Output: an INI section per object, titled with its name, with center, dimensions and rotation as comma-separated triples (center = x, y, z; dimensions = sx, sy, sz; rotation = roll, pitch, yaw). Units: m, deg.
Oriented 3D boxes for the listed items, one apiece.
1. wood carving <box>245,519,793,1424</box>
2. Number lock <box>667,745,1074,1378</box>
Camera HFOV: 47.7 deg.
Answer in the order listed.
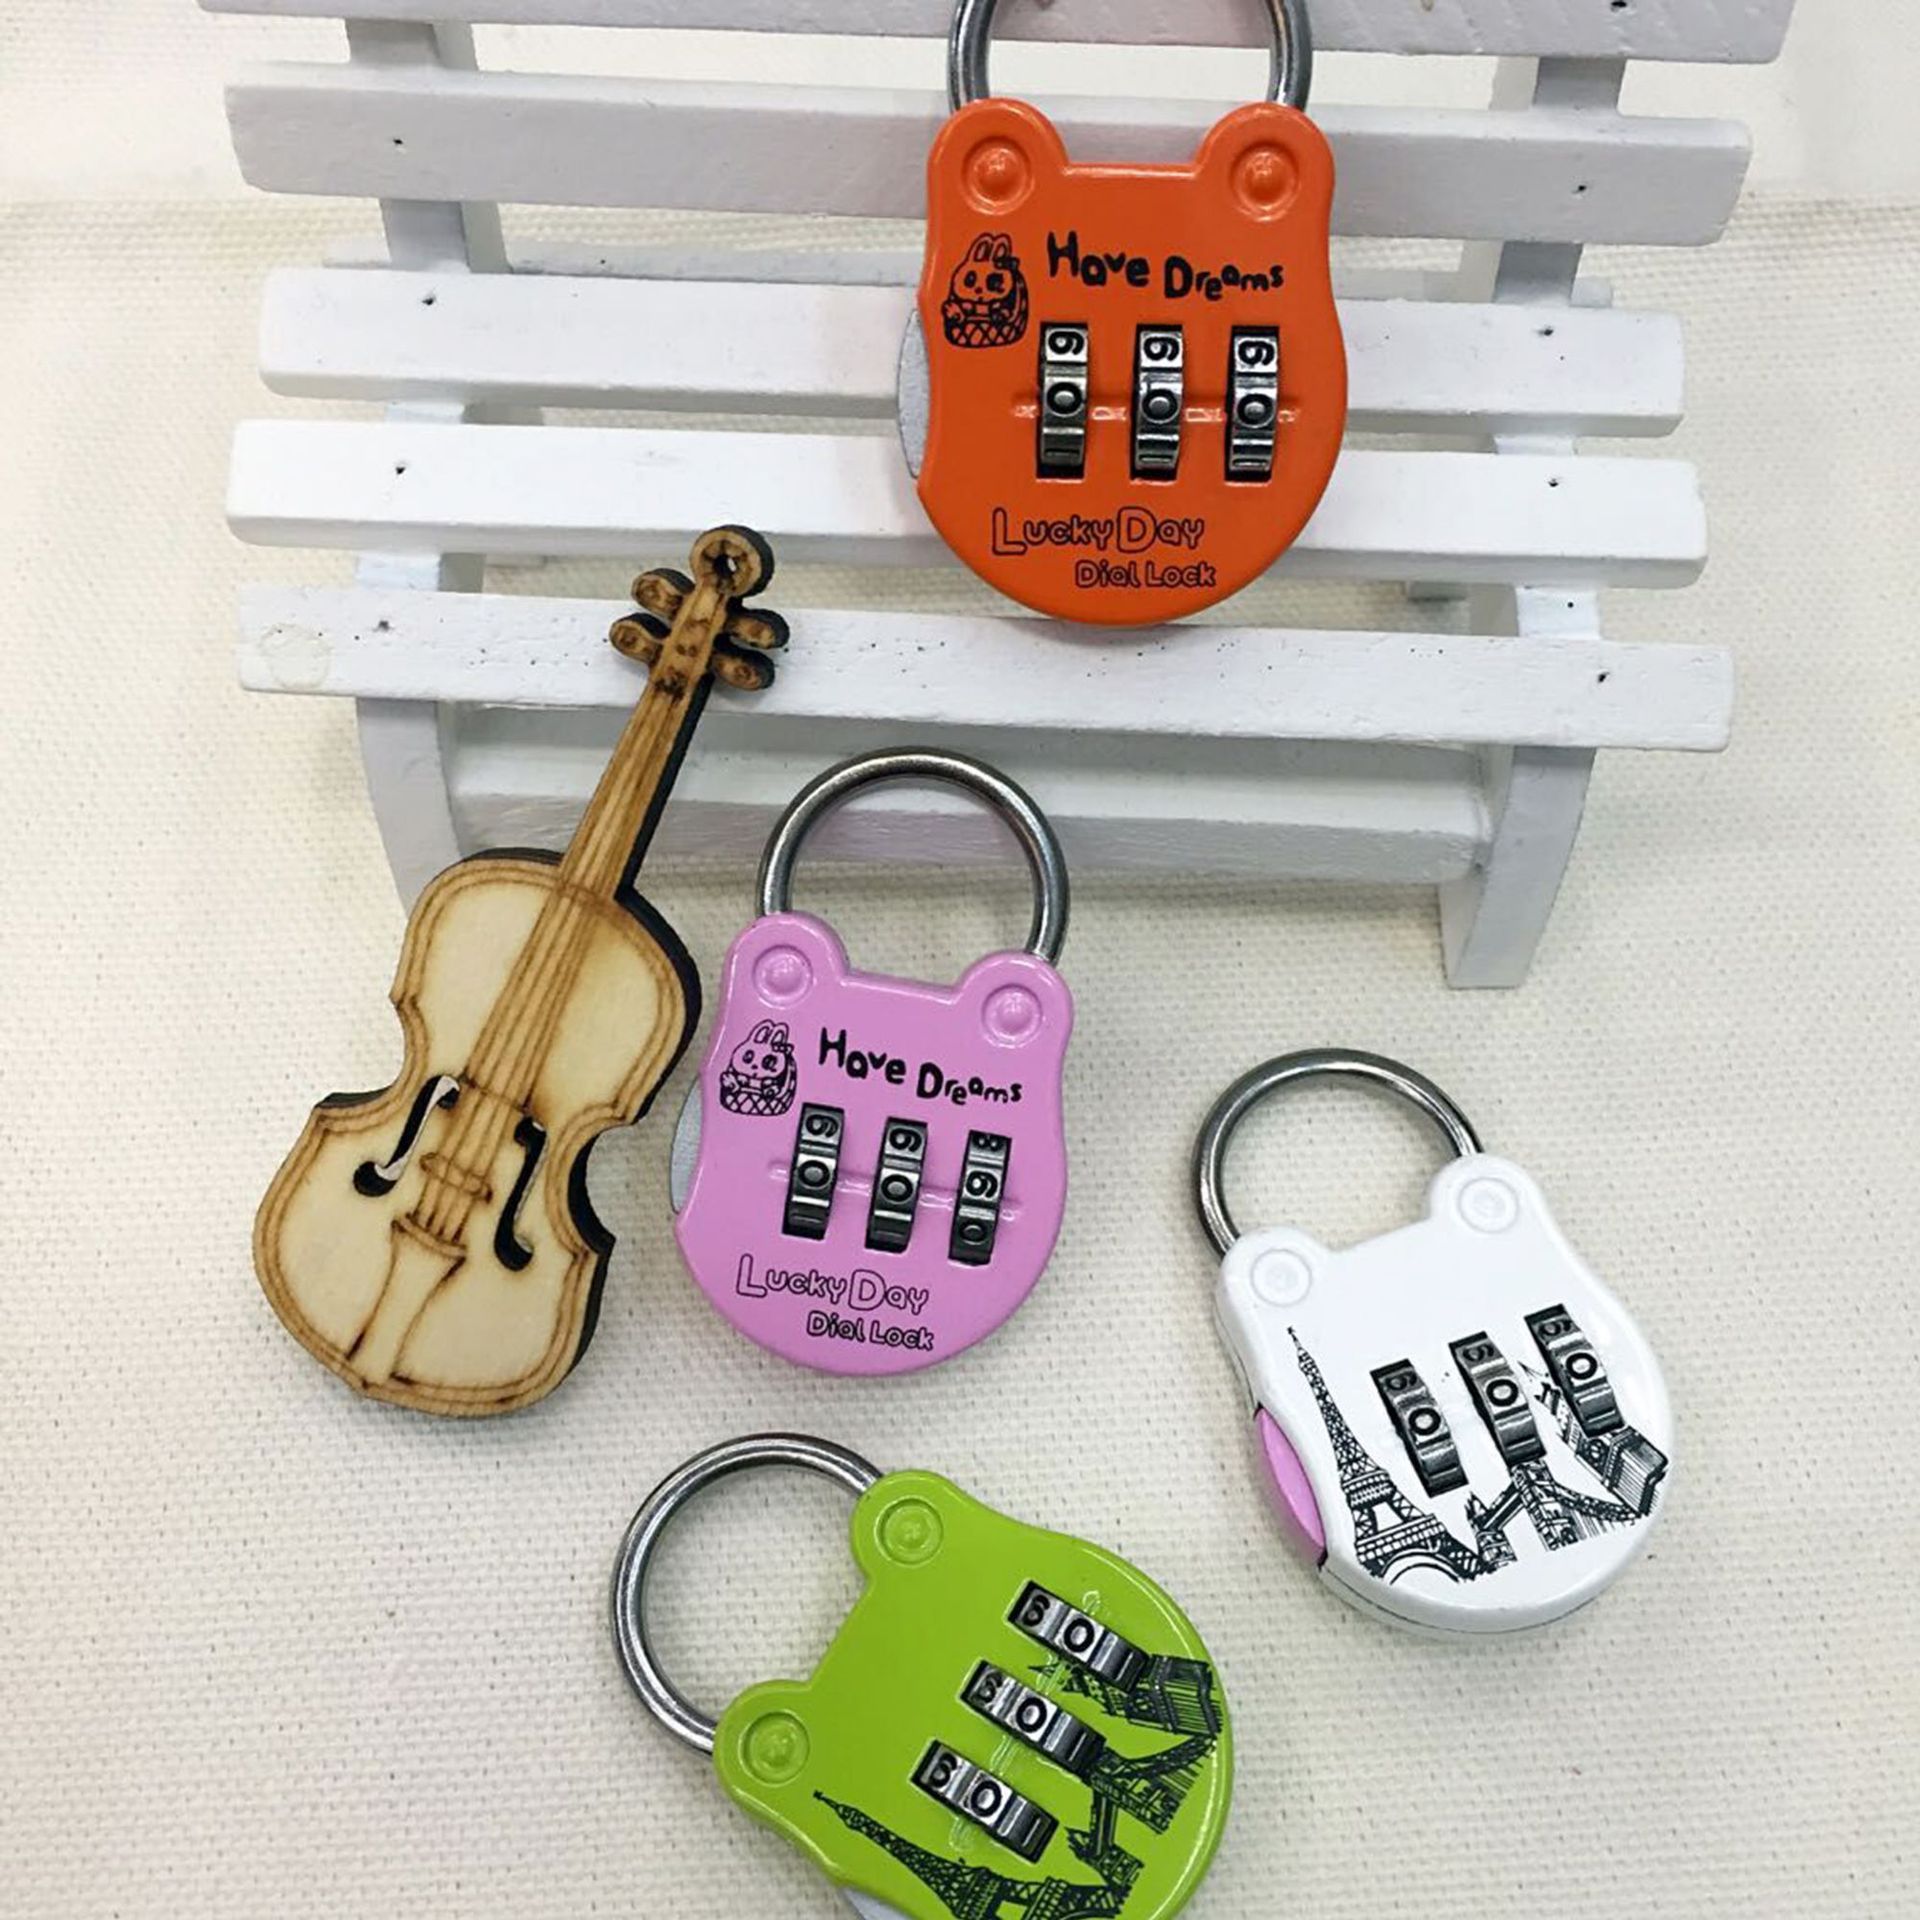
[wood carving]
center = -0.196, 0.005, 1.158
dimensions = 0.215, 0.099, 0.456
rotation = 25, 93, 0
[Number lock]
center = -0.040, 0.061, 0.969
dimensions = 0.237, 0.073, 0.283
rotation = 8, 89, 2
